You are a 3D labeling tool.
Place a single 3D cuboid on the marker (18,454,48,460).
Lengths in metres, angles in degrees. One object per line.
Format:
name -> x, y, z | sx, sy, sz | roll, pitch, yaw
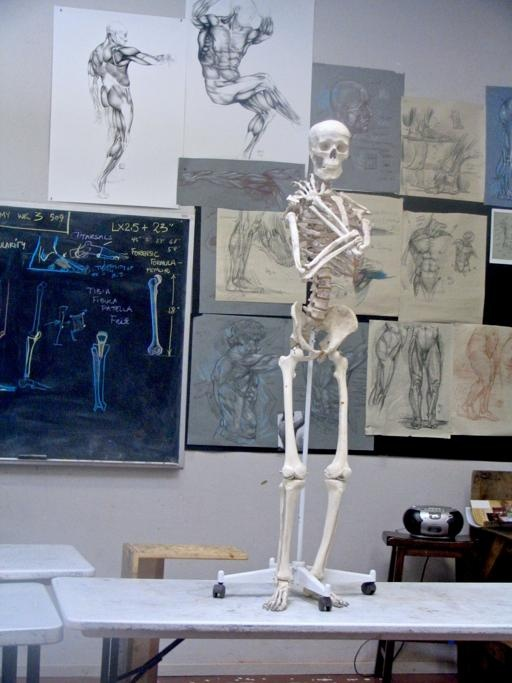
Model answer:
marker -> -0.956, 0.499, 3.499 | 0.119, 0.030, 0.020 | 2, 1, -13
